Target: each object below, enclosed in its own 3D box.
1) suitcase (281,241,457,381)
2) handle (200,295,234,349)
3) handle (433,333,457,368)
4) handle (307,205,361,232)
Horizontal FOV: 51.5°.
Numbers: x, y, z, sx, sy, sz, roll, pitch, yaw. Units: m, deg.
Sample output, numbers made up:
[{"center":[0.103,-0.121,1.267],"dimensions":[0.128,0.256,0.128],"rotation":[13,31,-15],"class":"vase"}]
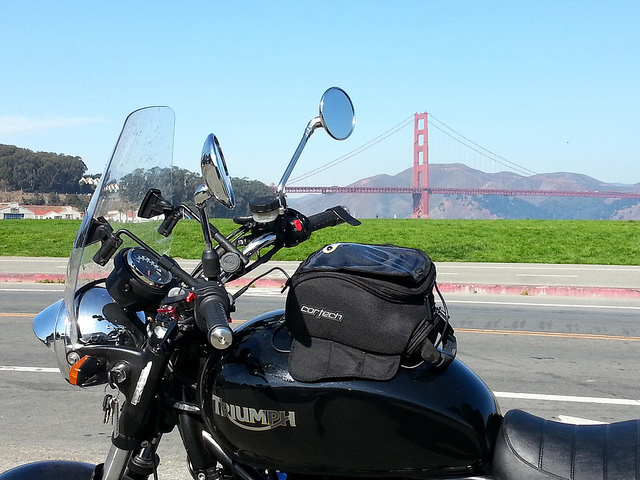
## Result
[{"center":[0.212,0.288,2.944],"dimensions":[0.765,0.521,0.666],"rotation":[8,12,9],"class":"suitcase"},{"center":[-0.403,0.310,2.541],"dimensions":[0.105,0.177,0.187],"rotation":[-1,4,-15],"class":"handle"},{"center":[0.541,0.476,2.869],"dimensions":[0.036,0.130,0.105],"rotation":[8,20,-5],"class":"handle"},{"center":[0.060,-0.107,3.191],"dimensions":[0.130,0.055,0.185],"rotation":[-6,10,45],"class":"handle"}]
